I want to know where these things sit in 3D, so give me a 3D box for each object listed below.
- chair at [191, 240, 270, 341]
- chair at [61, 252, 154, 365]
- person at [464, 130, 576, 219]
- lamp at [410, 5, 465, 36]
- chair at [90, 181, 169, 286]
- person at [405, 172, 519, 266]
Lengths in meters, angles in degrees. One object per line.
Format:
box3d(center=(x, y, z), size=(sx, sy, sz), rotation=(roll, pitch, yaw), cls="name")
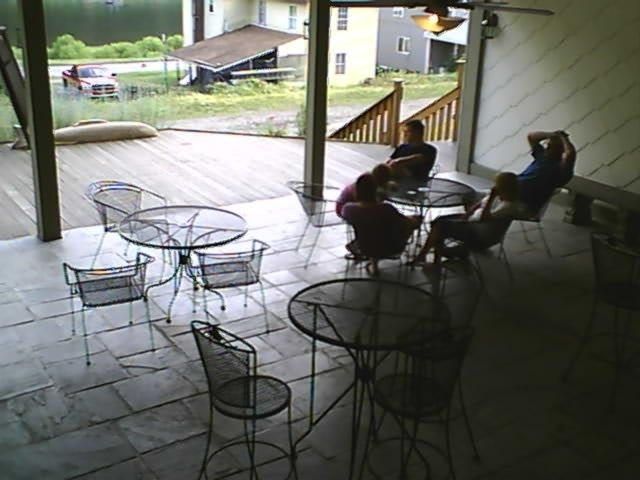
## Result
box3d(center=(-0.782, 0.415, 5.356), size=(0.733, 0.746, 0.658), rotation=(-2, 18, 15), cls="chair")
box3d(center=(-1.894, 0.567, 4.992), size=(0.731, 0.838, 0.684), rotation=(-5, 23, -27), cls="chair")
box3d(center=(1.879, -0.564, 4.749), size=(0.254, 0.875, 0.711), rotation=(-8, 29, -16), cls="person")
box3d(center=(0.852, -1.593, 3.974), size=(0.377, 0.199, 0.326), rotation=(4, 26, 6), cls="lamp")
box3d(center=(-2.308, -0.103, 6.820), size=(1.070, 1.024, 0.982), rotation=(-10, 42, -27), cls="chair")
box3d(center=(1.524, -0.166, 5.482), size=(0.744, 1.105, 0.468), rotation=(19, 23, 0), cls="person")
